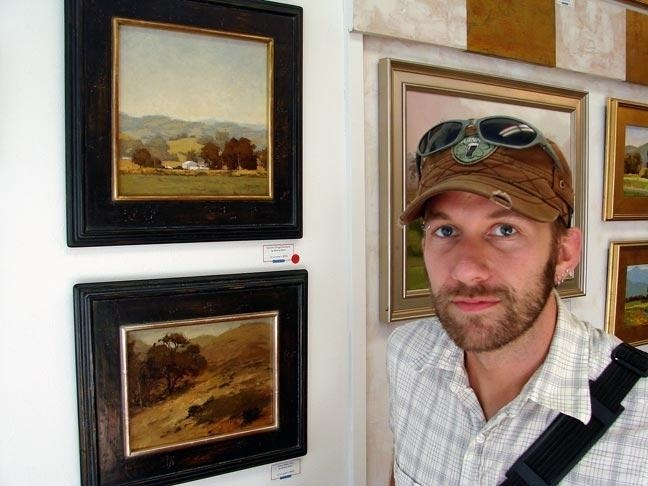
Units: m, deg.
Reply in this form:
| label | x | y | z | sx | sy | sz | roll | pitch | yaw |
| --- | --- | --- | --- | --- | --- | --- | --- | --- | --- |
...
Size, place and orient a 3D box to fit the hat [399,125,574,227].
| label | x | y | z | sx | sy | sz | roll | pitch | yaw |
| --- | --- | --- | --- | --- | --- | --- | --- | --- | --- |
| hat | 0.470 | -0.206 | 1.613 | 0.480 | 0.351 | 0.296 | -2 | 4 | 32 |
